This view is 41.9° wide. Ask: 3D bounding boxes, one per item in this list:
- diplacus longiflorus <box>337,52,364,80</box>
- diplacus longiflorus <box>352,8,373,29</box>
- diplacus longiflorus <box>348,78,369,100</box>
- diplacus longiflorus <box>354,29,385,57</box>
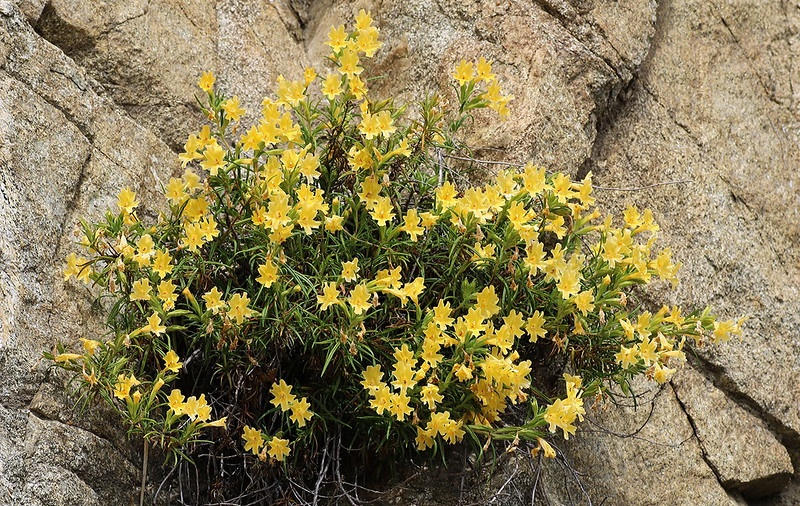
[{"bbox_3d":[-0.227,-0.878,4.807,0.113,0.131,0.055,9,-12,-8],"label":"diplacus longiflorus"},{"bbox_3d":[-0.166,-1.096,4.890,0.067,0.113,0.072,-4,-16,43],"label":"diplacus longiflorus"},{"bbox_3d":[-0.194,-0.771,4.850,0.086,0.094,0.045,28,-1,-27],"label":"diplacus longiflorus"},{"bbox_3d":[-0.153,-0.985,4.931,0.130,0.146,0.062,31,-14,-28],"label":"diplacus longiflorus"}]
